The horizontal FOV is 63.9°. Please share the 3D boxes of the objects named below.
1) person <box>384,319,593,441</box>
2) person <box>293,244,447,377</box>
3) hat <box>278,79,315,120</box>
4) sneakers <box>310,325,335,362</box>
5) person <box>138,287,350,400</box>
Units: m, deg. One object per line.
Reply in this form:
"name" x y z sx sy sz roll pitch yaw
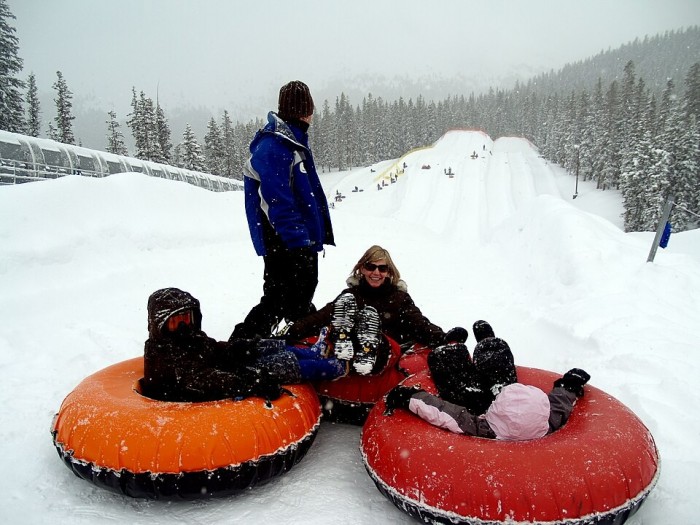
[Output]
"person" 1.174 1.034 4.805 1.558 0.632 0.972 6 17 20
"person" 0.264 0.568 5.723 1.025 1.529 0.739 2 54 4
"hat" -0.530 -1.571 5.442 0.337 0.347 0.288 -3 15 -8
"sneakers" -0.243 0.792 5.430 0.123 0.182 0.402 4 16 -7
"person" -1.000 0.689 5.079 1.776 1.032 1.321 -4 3 3
